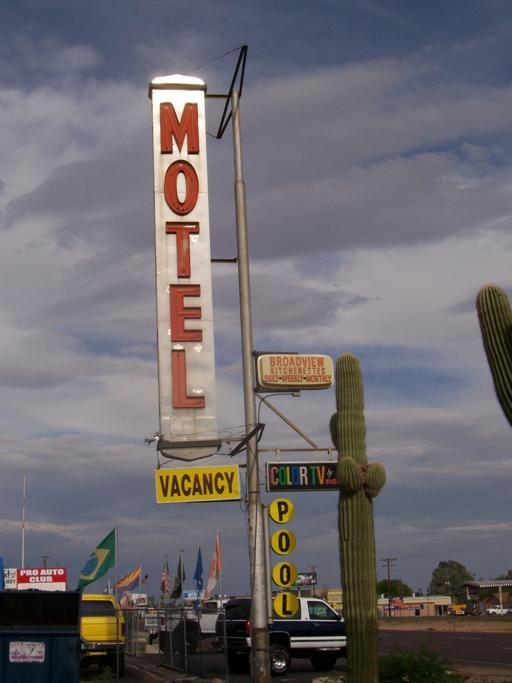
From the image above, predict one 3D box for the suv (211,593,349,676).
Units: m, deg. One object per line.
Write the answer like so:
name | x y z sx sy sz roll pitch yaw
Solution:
suv | 0.640 7.449 32.160 3.983 1.896 2.168 1 -7 -24
